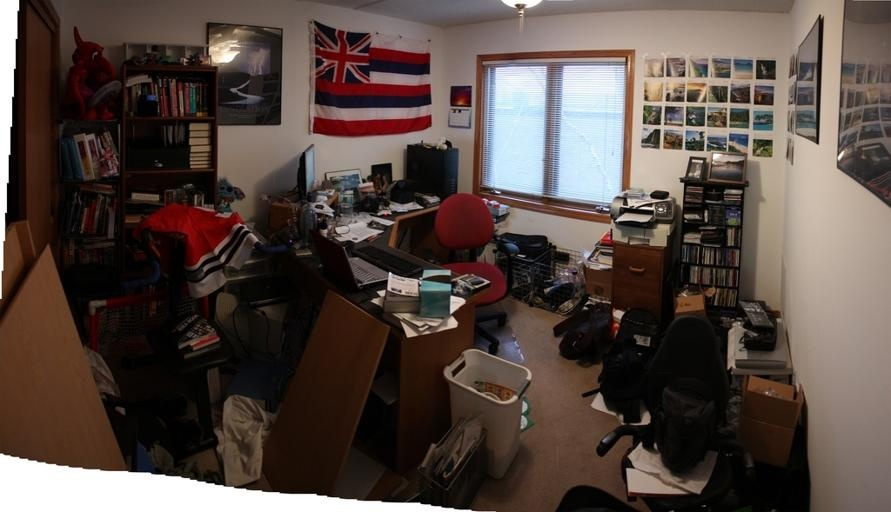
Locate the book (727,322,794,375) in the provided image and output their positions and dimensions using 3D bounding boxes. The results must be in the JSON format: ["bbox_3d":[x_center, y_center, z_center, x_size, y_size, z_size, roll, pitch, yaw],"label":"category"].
[{"bbox_3d":[2.622,0.778,4.999,0.414,0.100,0.458,4,24,20],"label":"book"}]

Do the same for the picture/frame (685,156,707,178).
[{"bbox_3d":[2.526,-0.897,6.066,0.185,0.204,0.313,5,13,22],"label":"picture/frame"}]

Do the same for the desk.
[{"bbox_3d":[-0.479,0.709,5.103,1.539,1.638,1.396,-2,12,-10],"label":"desk"}]

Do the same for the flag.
[{"bbox_3d":[-0.912,-2.084,6.824,1.415,0.948,0.105,-13,23,-34],"label":"flag"}]

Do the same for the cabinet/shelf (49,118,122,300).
[{"bbox_3d":[-3.033,-0.452,5.131,0.544,1.402,0.735,-7,13,-32],"label":"cabinet/shelf"}]

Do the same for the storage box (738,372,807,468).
[{"bbox_3d":[2.498,1.279,4.631,0.421,0.550,0.365,7,13,29],"label":"storage box"}]

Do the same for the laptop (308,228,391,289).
[{"bbox_3d":[-0.774,0.078,4.932,0.489,0.353,0.606,-7,33,-41],"label":"laptop"}]

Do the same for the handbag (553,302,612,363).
[{"bbox_3d":[1.318,0.775,5.886,0.490,0.191,0.496,-24,35,30],"label":"handbag"}]

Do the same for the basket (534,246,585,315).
[{"bbox_3d":[1.249,0.287,6.634,0.528,0.764,0.409,8,-26,8],"label":"basket"}]

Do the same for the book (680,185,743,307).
[{"bbox_3d":[2.648,-0.110,6.026,0.552,1.282,0.241,0,11,0],"label":"book"}]

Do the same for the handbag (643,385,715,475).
[{"bbox_3d":[1.668,1.210,4.354,0.388,0.481,0.536,7,18,27],"label":"handbag"}]

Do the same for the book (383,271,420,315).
[{"bbox_3d":[-0.342,0.293,4.670,0.275,0.220,0.299,0,12,-4],"label":"book"}]

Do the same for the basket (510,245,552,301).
[{"bbox_3d":[0.979,0.124,6.893,0.516,0.563,0.619,7,12,30],"label":"basket"}]

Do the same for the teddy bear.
[{"bbox_3d":[-3.047,-1.580,5.186,0.416,0.760,0.245,-6,13,-30],"label":"teddy bear"}]

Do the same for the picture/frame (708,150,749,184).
[{"bbox_3d":[2.814,-0.884,5.974,0.343,0.331,0.033,6,-12,18],"label":"picture/frame"}]
